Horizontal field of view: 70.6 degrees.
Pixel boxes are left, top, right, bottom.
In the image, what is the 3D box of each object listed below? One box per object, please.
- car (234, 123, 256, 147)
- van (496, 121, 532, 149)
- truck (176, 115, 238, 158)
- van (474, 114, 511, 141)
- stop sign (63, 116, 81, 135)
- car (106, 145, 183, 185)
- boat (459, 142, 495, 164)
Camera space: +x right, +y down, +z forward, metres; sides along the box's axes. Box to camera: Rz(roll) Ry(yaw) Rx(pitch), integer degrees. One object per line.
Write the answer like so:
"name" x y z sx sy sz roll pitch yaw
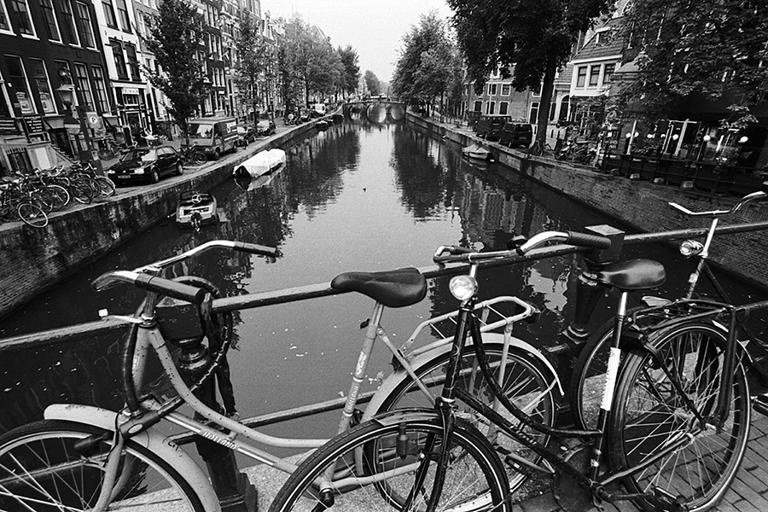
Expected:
"car" -9.236 -7.747 35.148 1.327 1.079 3.115 -1 19 -5
"van" 8.142 -7.502 33.388 1.328 1.284 2.330 -2 35 -3
"truck" -9.250 -6.177 28.549 1.794 1.750 3.112 1 21 1
"van" 7.896 -9.266 38.504 1.607 1.501 2.849 -3 38 0
"stop sign" -12.942 -5.318 22.309 0.700 0.935 0.135 -6 5 -12
"car" -9.229 -3.419 21.071 1.248 1.038 2.889 -1 17 4
"boat" 6.192 -6.454 35.032 1.192 0.935 3.247 -5 24 -9
